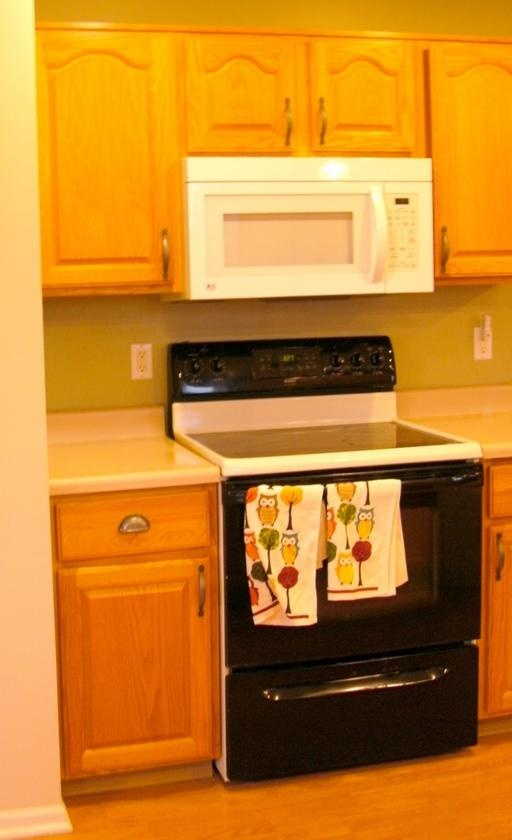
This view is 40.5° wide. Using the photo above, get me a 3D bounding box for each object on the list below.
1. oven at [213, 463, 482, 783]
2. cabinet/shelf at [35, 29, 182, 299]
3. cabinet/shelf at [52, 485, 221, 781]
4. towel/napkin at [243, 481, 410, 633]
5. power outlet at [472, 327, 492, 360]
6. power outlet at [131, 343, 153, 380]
[{"bbox_3d":[0.226,0.459,1.938,0.676,0.843,0.603,-3,12,-9],"label":"oven"},{"bbox_3d":[-0.374,-0.671,1.803,0.367,0.656,0.121,0,-2,-18],"label":"cabinet/shelf"},{"bbox_3d":[-0.309,0.479,1.785,0.435,0.761,0.436,0,11,-1],"label":"cabinet/shelf"},{"bbox_3d":[0.147,0.307,1.595,0.338,0.284,0.050,-3,3,-19],"label":"towel/napkin"},{"bbox_3d":[0.814,-0.271,2.490,0.083,0.119,0.024,0,-2,-27],"label":"power outlet"},{"bbox_3d":[-0.359,-0.182,2.178,0.067,0.112,0.017,0,-2,-13],"label":"power outlet"}]
